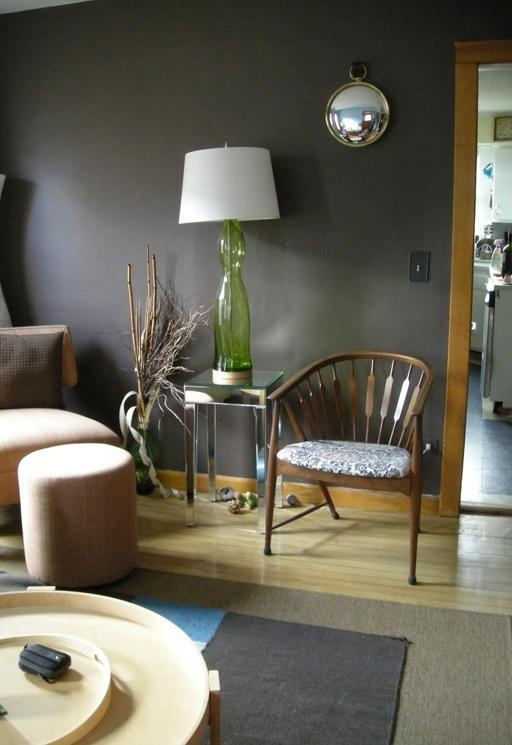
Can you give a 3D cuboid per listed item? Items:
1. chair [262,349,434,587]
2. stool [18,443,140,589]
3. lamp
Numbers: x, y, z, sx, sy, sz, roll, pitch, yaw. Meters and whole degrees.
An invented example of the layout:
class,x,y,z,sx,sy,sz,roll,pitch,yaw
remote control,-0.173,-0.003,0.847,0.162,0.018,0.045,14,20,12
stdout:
class,x,y,z,sx,sy,sz,roll,pitch,yaw
chair,0.393,0.349,2.428,0.620,0.838,0.615,3,7,20
stool,-0.649,0.506,2.185,0.402,0.444,0.396,-7,17,-30
lamp,-0.111,-0.442,2.511,0.405,0.989,0.274,-3,9,-16
